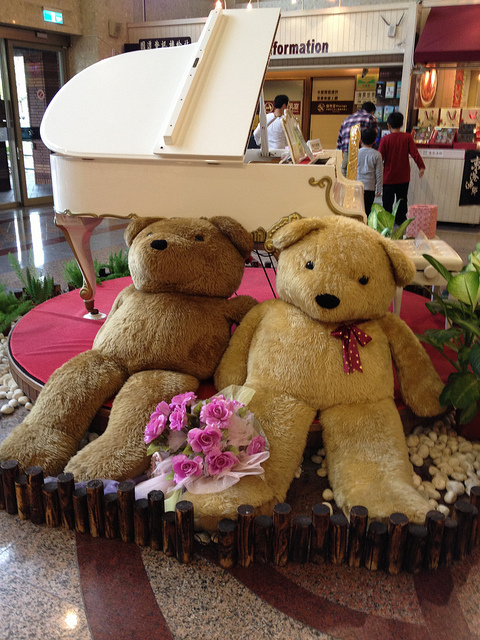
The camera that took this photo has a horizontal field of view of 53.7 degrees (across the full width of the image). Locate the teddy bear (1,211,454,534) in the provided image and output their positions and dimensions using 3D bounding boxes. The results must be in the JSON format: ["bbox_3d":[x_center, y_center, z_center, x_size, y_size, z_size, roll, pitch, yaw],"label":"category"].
[{"bbox_3d":[0.057,0.108,1.576,1.336,0.675,1.038,8,31,12],"label":"teddy bear"}]

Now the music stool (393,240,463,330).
[{"bbox_3d":[0.859,-0.154,2.172,0.296,0.455,0.331,5,16,15],"label":"music stool"}]

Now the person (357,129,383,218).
[{"bbox_3d":[1.496,-1.702,5.469,0.274,0.916,0.374,2,13,13],"label":"person"}]

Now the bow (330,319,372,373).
[{"bbox_3d":[0.355,0.091,1.532,0.172,0.033,0.218,1,66,-3],"label":"bow"}]
